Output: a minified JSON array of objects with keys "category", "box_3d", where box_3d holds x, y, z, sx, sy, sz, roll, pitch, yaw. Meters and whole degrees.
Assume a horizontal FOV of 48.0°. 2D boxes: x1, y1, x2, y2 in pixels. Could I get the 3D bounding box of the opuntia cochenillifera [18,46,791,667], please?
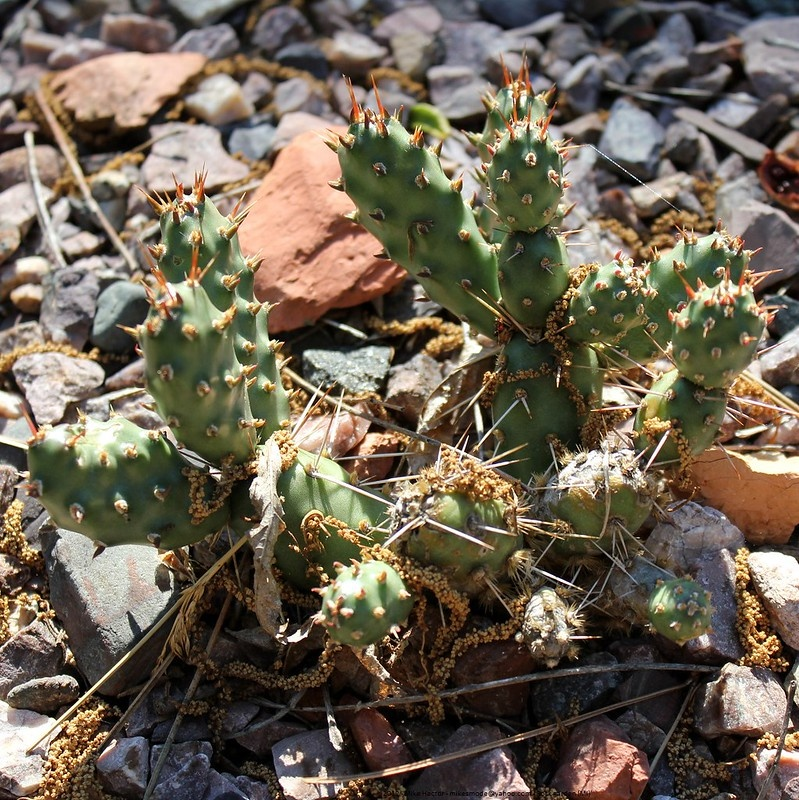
[{"category":"opuntia cochenillifera","box_3d":[-0.173,0.012,2.994,1.910,1.058,1.829,-39,65,-16]}]
